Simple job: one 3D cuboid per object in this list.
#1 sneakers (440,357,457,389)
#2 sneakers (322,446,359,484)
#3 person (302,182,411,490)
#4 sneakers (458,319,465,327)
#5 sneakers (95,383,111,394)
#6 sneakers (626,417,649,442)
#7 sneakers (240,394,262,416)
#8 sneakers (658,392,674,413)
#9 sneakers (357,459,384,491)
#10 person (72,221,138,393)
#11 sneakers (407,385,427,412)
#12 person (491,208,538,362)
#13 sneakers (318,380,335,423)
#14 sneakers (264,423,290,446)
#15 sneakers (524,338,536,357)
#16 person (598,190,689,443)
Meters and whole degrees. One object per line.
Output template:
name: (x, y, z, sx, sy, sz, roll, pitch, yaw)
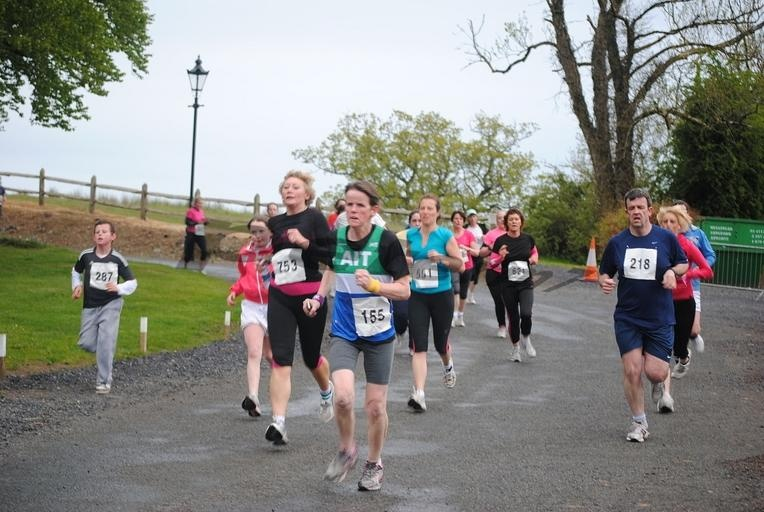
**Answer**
sneakers: (0.990, 1.769, 10.069, 0.162, 0.519, 0.215, -1, 3, 13)
sneakers: (-0.396, 2.059, 6.715, 0.245, 0.198, 0.462, 27, 42, 25)
person: (-0.156, 0.758, 6.720, 0.839, 3.006, 0.581, -1, 4, 3)
sneakers: (1.850, 1.529, 15.464, 0.108, 0.175, 0.166, -5, -3, -21)
sneakers: (-3.897, 1.852, 9.416, 0.187, 0.123, 0.189, -3, 5, -25)
sneakers: (3.000, 2.035, 7.896, 0.220, 0.224, 0.359, 1, 5, 28)
sneakers: (-1.638, 1.892, 8.495, 0.143, 0.345, 0.157, -19, 24, 7)
sneakers: (3.751, 1.958, 8.883, 0.172, 0.175, 0.311, 3, 20, 10)
sneakers: (-0.073, 2.141, 6.618, 0.338, 0.270, 0.210, -4, 5, -33)
person: (-4.040, 0.683, 9.792, 0.813, 2.394, 1.081, -3, 4, -27)
sneakers: (0.475, 1.940, 8.955, 0.154, 0.390, 0.270, -3, 45, 16)
person: (2.443, 0.493, 12.262, 0.696, 2.719, 1.169, -1, 4, 12)
sneakers: (-0.616, 1.667, 7.717, 0.159, 0.463, 0.191, 0, -6, 6)
sneakers: (-1.179, 1.997, 7.557, 0.247, 0.298, 0.256, -2, 4, -11)
sneakers: (2.707, 1.692, 12.331, 0.107, 0.331, 0.139, -23, -12, 5)
person: (3.160, 0.665, 8.125, 0.925, 2.934, 0.955, -1, 4, 10)
